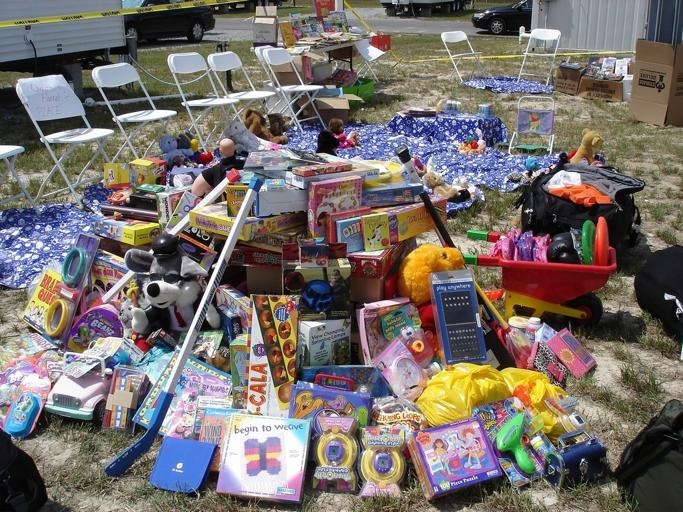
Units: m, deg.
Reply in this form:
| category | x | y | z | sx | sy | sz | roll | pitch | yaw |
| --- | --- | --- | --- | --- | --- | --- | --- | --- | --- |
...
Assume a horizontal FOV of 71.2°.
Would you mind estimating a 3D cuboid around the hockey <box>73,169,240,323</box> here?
| category | x | y | z | sx | sy | sz | roll | pitch | yaw |
| --- | --- | --- | --- | --- | --- | --- | --- | --- | --- |
| hockey | -1.404 | -0.066 | 3.705 | 0.142 | 0.211 | 1.852 | 34 | 66 | 19 |

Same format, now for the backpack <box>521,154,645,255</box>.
| category | x | y | z | sx | sy | sz | roll | pitch | yaw |
| --- | --- | --- | --- | --- | --- | --- | --- | --- | --- |
| backpack | 2.306 | -0.562 | 4.474 | 0.815 | 0.483 | 1.007 | 15 | 28 | 33 |

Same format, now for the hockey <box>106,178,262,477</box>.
| category | x | y | z | sx | sy | sz | roll | pitch | yaw |
| --- | --- | --- | --- | --- | --- | --- | --- | --- | --- |
| hockey | -0.995 | 0.487 | 3.086 | 0.177 | 0.207 | 1.988 | 20 | 63 | -2 |

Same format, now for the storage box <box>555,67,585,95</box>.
| category | x | y | z | sx | sy | sz | roll | pitch | yaw |
| --- | --- | --- | --- | --- | --- | --- | --- | --- | --- |
| storage box | 5.843 | -4.543 | 12.270 | 0.657 | 0.676 | 0.688 | 16 | 21 | 25 |
